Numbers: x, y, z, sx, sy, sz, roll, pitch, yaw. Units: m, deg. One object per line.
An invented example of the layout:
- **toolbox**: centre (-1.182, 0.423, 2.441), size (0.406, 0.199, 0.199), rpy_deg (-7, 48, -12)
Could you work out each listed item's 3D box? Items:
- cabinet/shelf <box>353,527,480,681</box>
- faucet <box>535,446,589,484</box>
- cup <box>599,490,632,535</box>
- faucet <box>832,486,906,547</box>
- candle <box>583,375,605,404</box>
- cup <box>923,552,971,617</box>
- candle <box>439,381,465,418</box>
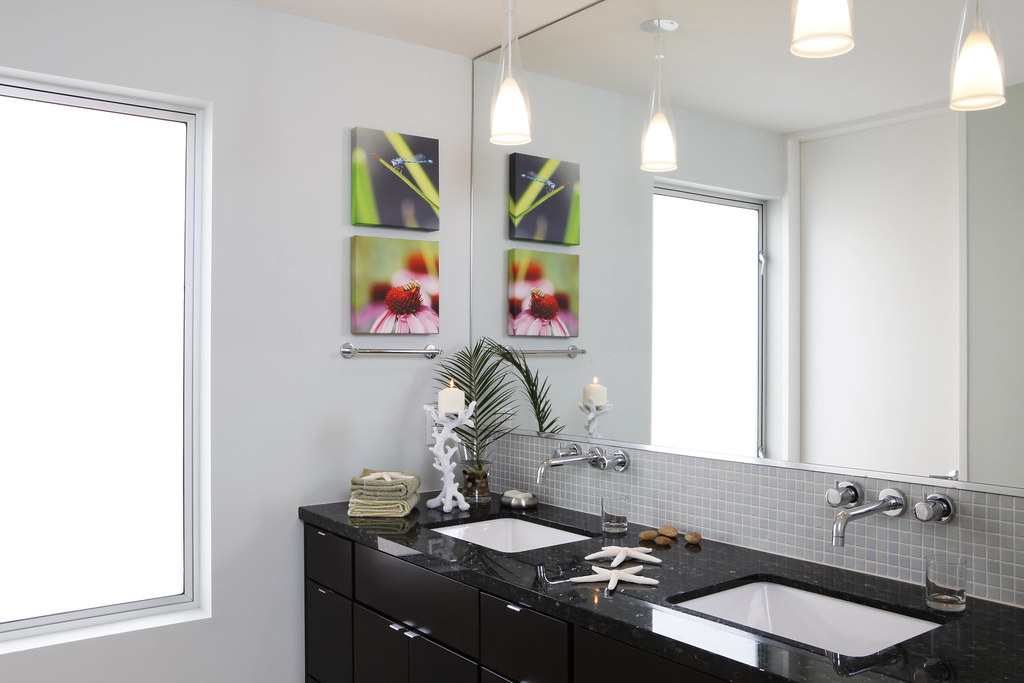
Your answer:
- **cabinet/shelf**: centre (-0.354, 0.959, 2.607), size (0.427, 0.139, 0.305), rpy_deg (-1, -4, 40)
- **faucet**: centre (0.177, 0.505, 2.948), size (0.107, 0.112, 0.209), rpy_deg (3, 5, 44)
- **cup**: centre (0.386, 0.658, 2.734), size (0.121, 0.144, 0.147), rpy_deg (2, -1, -16)
- **faucet**: centre (1.089, 0.547, 2.241), size (0.262, 0.137, 0.088), rpy_deg (-6, 8, -26)
- **candle**: centre (0.353, 0.217, 3.089), size (0.102, 0.111, 0.103), rpy_deg (1, 0, 34)
- **cup**: centre (1.271, 0.736, 2.190), size (0.130, 0.163, 0.162), rpy_deg (3, -4, -29)
- **candle**: centre (-0.272, 0.265, 3.263), size (0.139, 0.149, 0.136), rpy_deg (0, 1, -40)
